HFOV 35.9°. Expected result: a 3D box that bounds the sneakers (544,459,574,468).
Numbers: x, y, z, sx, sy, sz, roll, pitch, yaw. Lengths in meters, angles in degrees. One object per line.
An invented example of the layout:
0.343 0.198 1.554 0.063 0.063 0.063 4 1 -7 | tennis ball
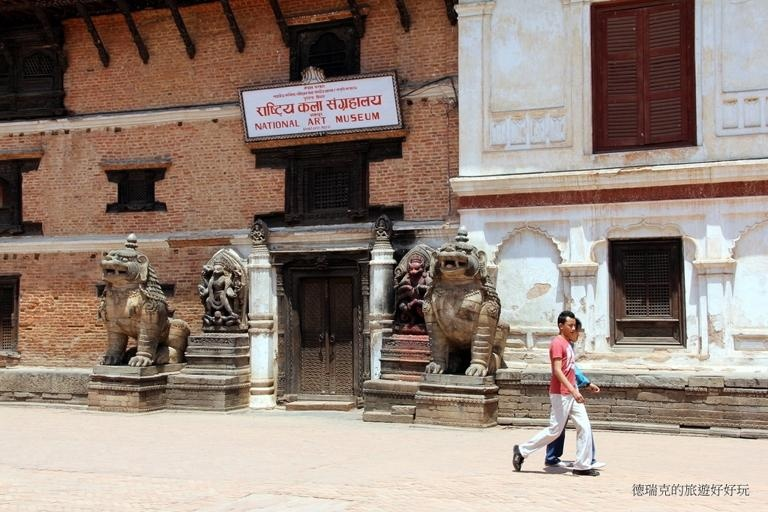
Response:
2.742 3.245 18.657 0.419 0.148 0.147 -2 -5 10 | sneakers

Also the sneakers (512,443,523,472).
2.064 3.121 18.420 0.202 0.397 0.141 1 -1 4 | sneakers

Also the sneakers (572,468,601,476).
3.104 3.302 18.204 0.393 0.146 0.138 -1 -4 3 | sneakers
